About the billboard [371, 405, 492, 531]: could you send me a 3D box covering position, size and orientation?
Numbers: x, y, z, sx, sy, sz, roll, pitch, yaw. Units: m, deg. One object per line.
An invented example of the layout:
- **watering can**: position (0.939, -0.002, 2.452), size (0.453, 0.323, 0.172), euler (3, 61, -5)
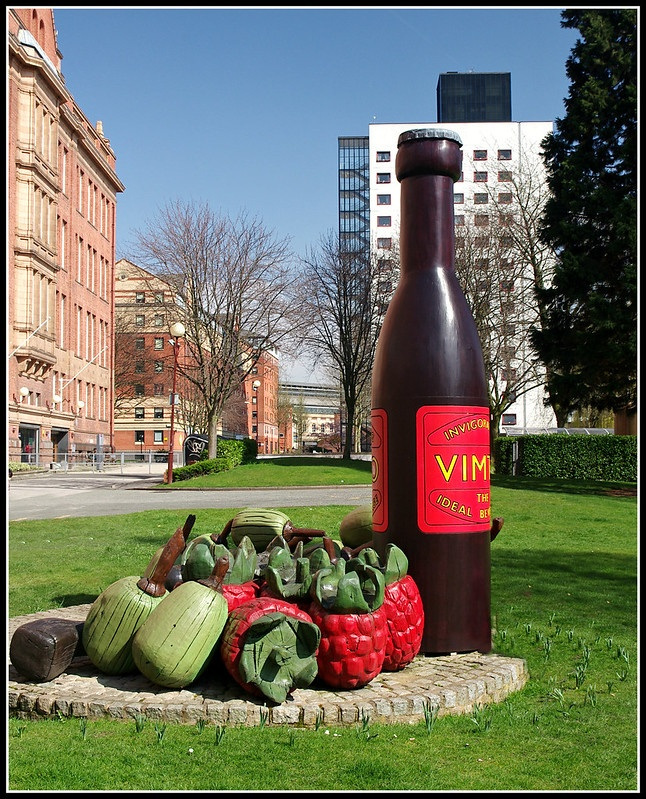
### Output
- **billboard**: position (0.735, 0.451, 5.863), size (0.820, 1.069, 0.879), euler (-1, -4, 10)
